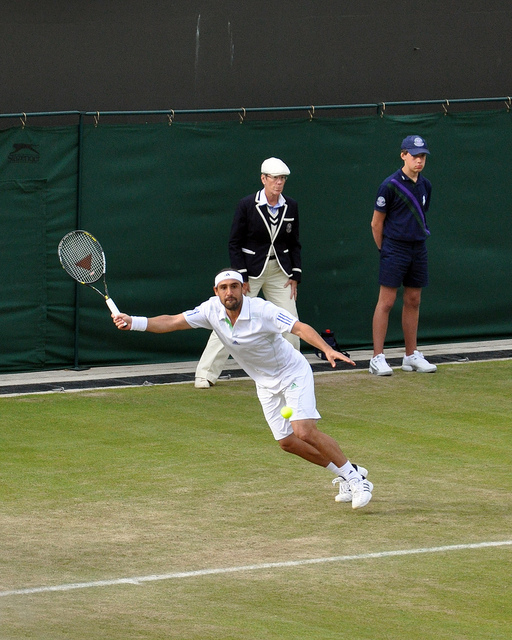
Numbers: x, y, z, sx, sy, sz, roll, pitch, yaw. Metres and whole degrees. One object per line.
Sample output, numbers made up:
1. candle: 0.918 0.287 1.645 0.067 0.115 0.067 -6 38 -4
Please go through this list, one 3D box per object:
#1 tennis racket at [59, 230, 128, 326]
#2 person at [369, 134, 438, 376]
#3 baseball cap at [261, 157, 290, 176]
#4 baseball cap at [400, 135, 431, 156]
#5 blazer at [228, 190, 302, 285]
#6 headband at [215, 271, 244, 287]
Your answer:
1. tennis racket: -1.492 -0.388 8.831 0.334 1.050 0.085 -27 -14 -19
2. person: 1.484 -0.654 10.026 0.665 2.421 0.610 -1 8 8
3. baseball cap: 0.157 -1.380 8.715 0.197 0.096 0.238 2 2 -14
4. baseball cap: 1.572 -1.734 9.692 0.216 0.206 0.292 -2 7 -3
5. blazer: 0.087 -0.780 9.174 0.669 0.848 0.347 -3 8 -6
6. headband: -0.154 -0.238 5.623 0.232 0.072 0.203 -1 9 0
